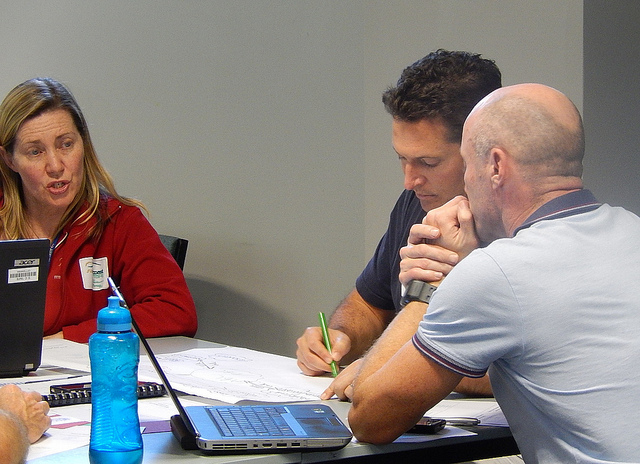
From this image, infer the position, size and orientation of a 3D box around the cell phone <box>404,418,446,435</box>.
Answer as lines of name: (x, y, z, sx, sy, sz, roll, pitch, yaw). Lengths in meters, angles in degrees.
cell phone: (0.247, 0.474, 1.496, 0.070, 0.016, 0.068, -2, 0, 16)

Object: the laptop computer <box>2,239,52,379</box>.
laptop computer: (-0.883, 0.238, 1.869, 0.126, 0.429, 0.084, 0, 5, -27)

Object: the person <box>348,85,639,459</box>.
person: (0.443, 0.081, 1.548, 0.626, 0.880, 0.449, 3, 5, 17)

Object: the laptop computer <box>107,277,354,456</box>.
laptop computer: (-0.242, 0.271, 1.485, 0.555, 0.375, 0.365, -1, 11, -16)
